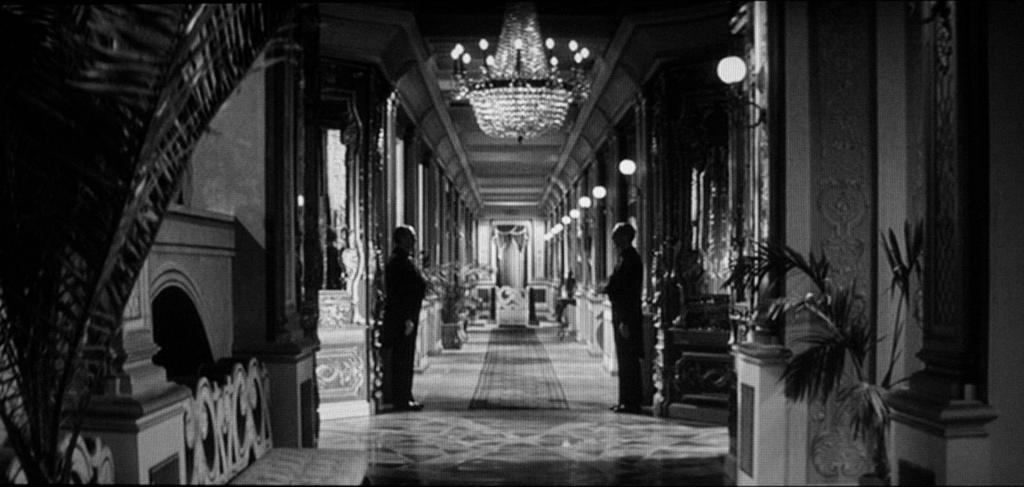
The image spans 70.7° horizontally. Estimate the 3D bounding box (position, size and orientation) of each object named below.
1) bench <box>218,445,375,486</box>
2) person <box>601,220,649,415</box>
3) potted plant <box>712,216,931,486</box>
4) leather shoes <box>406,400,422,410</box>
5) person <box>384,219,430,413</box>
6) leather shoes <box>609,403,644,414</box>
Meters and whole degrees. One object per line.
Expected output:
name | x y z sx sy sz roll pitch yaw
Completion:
bench | -1.848 2.015 6.391 1.067 0.177 0.772 0 1 -6
person | 1.621 1.072 10.386 0.526 2.686 0.327 1 2 9
potted plant | 3.088 1.048 7.074 1.657 2.551 0.735 1 2 15
leather shoes | -1.415 2.323 10.468 0.208 0.118 0.155 1 1 2
person | -1.579 1.074 10.542 0.632 2.641 0.431 0 2 -8
leather shoes | 1.632 2.382 10.383 0.472 0.164 0.157 5 -8 1
